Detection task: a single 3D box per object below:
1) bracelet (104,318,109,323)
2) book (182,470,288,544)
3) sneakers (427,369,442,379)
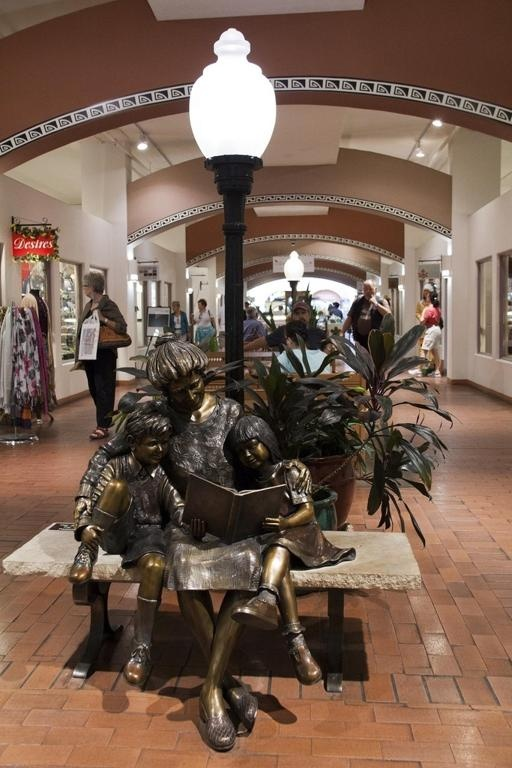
[{"bbox_3d":[-1.818,-0.770,6.056,0.056,0.056,0.013,31,-40,-24],"label":"bracelet"},{"bbox_3d":[-0.069,0.345,1.381,0.263,0.195,0.223,1,-7,-10],"label":"book"},{"bbox_3d":[4.650,-0.260,13.076,0.179,0.209,0.478,4,8,16],"label":"sneakers"}]
